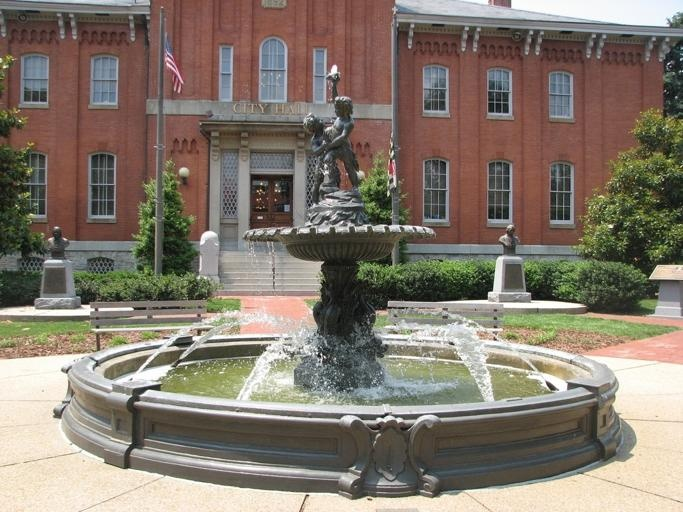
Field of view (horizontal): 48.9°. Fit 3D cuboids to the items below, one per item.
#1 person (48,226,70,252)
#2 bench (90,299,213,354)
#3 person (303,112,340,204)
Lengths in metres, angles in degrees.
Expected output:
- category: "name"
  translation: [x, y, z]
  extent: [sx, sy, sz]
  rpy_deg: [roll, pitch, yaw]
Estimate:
- category: "person"
  translation: [-8.834, -0.502, 23.273]
  extent: [0.553, 0.792, 1.170]
  rpy_deg: [-2, 3, -22]
- category: "bench"
  translation: [-4.364, 1.604, 17.166]
  extent: [2.749, 1.254, 0.857]
  rpy_deg: [1, 13, -28]
- category: "person"
  translation: [-0.408, -1.950, 14.976]
  extent: [0.680, 1.795, 0.779]
  rpy_deg: [-1, 3, -2]
